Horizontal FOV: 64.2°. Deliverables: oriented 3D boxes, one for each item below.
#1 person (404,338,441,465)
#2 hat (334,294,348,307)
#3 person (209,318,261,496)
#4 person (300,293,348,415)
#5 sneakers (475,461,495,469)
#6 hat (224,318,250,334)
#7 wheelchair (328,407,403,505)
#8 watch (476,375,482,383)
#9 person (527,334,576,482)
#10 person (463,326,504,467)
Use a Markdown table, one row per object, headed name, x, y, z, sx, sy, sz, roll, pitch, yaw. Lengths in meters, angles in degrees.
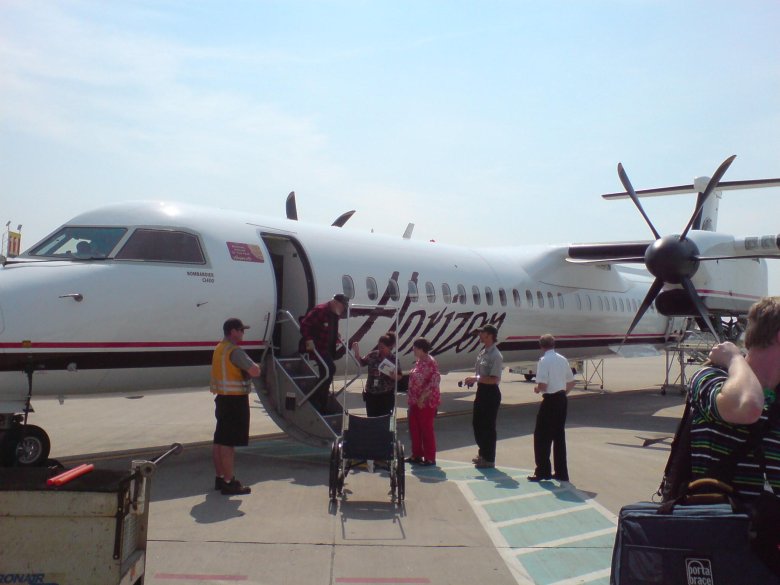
| name | x | y | z | sx | sy | sz | roll | pitch | yaw |
| --- | --- | --- | --- | --- | --- | --- | --- | --- | --- |
| person | 0.486 | 1.606 | 9.067 | 0.457 | 1.878 | 0.626 | 2 | -1 | 1 |
| hat | -0.754 | 0.104 | 9.288 | 0.200 | 0.139 | 0.162 | -5 | -13 | 32 |
| person | -1.922 | 1.395 | 7.669 | 0.670 | 2.129 | 0.435 | 1 | -2 | 38 |
| person | -1.014 | 0.925 | 9.376 | 0.694 | 1.776 | 0.574 | 2 | -1 | -8 |
| sneakers | 1.388 | 2.527 | 9.113 | 0.283 | 0.109 | 0.100 | 11 | -15 | -23 |
| hat | -1.927 | 0.410 | 7.873 | 0.299 | 0.160 | 0.204 | -1 | 5 | -33 |
| wheelchair | -0.261 | 2.065 | 8.055 | 0.933 | 1.004 | 1.479 | 2 | -2 | 0 |
| watch | 1.276 | 1.231 | 8.995 | 0.020 | 0.073 | 0.081 | 7 | -3 | -25 |
| person | 2.219 | 1.599 | 8.601 | 0.584 | 2.017 | 0.784 | 1 | -1 | 16 |
| person | 1.388 | 1.532 | 9.256 | 0.480 | 2.097 | 0.712 | 1 | -1 | 8 |
